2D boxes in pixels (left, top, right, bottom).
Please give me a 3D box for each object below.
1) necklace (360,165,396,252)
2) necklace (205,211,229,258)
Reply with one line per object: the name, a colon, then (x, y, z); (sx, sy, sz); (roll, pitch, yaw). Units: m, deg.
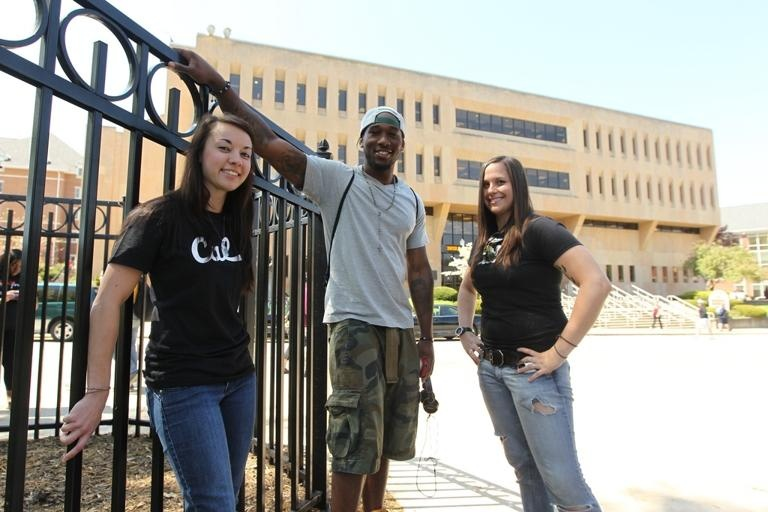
necklace: (-0.040, -0.354, 4.098); (0.329, 0.563, 0.131); (8, -14, -27)
necklace: (-0.997, -0.144, 3.283); (0.055, 0.237, 0.162); (-8, -9, 42)
